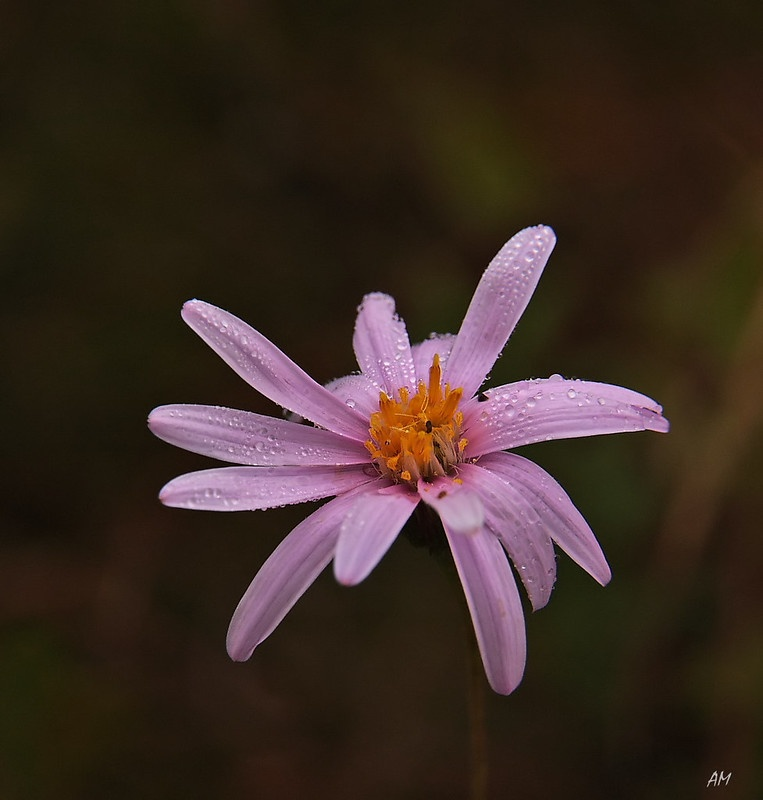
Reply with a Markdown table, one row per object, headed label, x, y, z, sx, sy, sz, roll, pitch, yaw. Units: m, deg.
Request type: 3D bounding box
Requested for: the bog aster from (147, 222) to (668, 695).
| label | x | y | z | sx | sy | sz | roll | pitch | yaw |
| --- | --- | --- | --- | --- | --- | --- | --- | --- | --- |
| bog aster | 0.064 | 0.151 | 1.572 | 0.929 | 0.504 | 0.977 | -4 | 9 | -1 |
